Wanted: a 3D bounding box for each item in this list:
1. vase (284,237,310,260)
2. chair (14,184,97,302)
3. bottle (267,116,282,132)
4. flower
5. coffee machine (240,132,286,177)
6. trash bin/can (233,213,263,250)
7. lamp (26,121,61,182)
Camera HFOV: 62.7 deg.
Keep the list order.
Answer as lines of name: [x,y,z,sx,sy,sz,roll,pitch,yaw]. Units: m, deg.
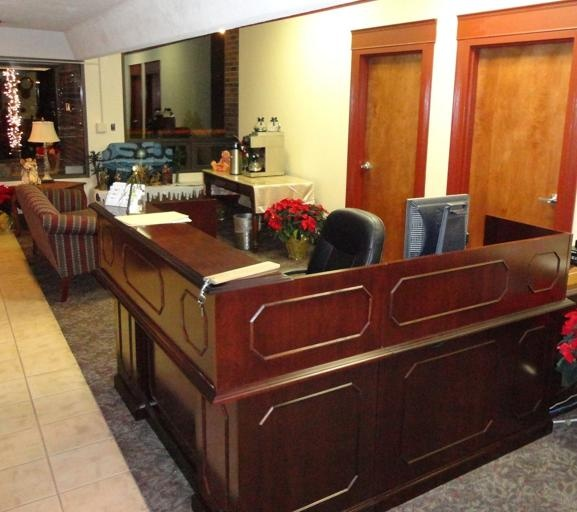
vase: [0.109,-0.104,5.830,0.258,0.220,0.266,2,3,-1]
chair: [-2.417,-0.113,4.901,0.608,0.732,1.053,-11,35,-29]
bottle: [-0.231,-1.951,6.931,0.140,0.208,0.308,-7,20,-26]
flower: [0.121,-0.410,5.792,0.630,0.450,0.635,13,-11,-39]
coffee machine: [-0.289,-1.403,6.483,0.626,0.737,0.527,-2,12,-17]
trash bin/can: [-0.551,-0.347,6.174,0.450,0.471,0.438,-1,16,-12]
lamp: [-3.774,-1.646,7.344,0.457,0.881,0.745,-7,20,-27]
